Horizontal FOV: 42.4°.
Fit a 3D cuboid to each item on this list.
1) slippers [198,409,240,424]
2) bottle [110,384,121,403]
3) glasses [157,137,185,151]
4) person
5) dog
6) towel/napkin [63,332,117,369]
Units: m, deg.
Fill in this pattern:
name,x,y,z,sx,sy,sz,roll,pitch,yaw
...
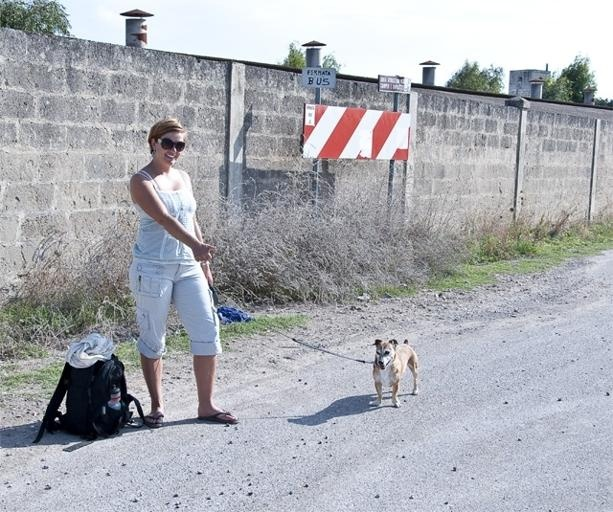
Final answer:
name,x,y,z,sx,sy,sz,roll,pitch,yaw
slippers,-0.712,1.271,6.314,0.285,0.099,0.127,2,5,3
bottle,-1.434,1.053,5.942,0.088,0.111,0.096,0,-4,0
glasses,-1.020,-0.853,6.039,0.195,0.102,0.093,-5,13,-30
person,-0.994,0.149,6.116,0.716,2.384,0.604,1,10,-1
dog,0.783,0.987,6.935,0.257,0.645,0.915,2,6,24
towel/napkin,-1.621,0.722,5.948,0.260,0.128,0.260,-18,41,-35
